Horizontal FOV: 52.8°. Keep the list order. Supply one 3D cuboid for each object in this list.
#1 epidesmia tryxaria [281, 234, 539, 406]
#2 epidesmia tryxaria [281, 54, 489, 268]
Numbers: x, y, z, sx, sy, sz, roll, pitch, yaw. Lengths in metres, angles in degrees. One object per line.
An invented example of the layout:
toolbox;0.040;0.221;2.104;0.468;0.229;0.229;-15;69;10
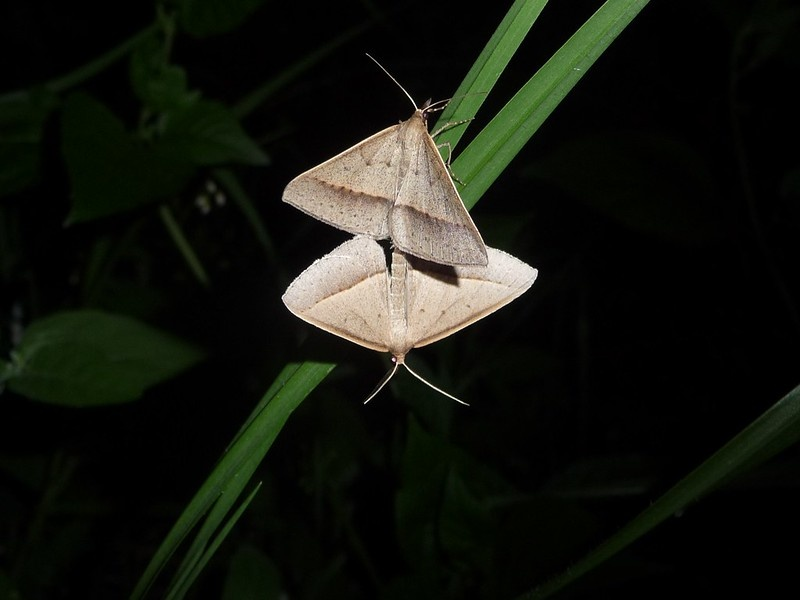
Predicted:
epidesmia tryxaria;0.007;0.023;1.223;0.326;0.103;0.244;-7;66;-4
epidesmia tryxaria;-0.007;-0.179;1.140;0.280;0.244;0.083;14;3;13
